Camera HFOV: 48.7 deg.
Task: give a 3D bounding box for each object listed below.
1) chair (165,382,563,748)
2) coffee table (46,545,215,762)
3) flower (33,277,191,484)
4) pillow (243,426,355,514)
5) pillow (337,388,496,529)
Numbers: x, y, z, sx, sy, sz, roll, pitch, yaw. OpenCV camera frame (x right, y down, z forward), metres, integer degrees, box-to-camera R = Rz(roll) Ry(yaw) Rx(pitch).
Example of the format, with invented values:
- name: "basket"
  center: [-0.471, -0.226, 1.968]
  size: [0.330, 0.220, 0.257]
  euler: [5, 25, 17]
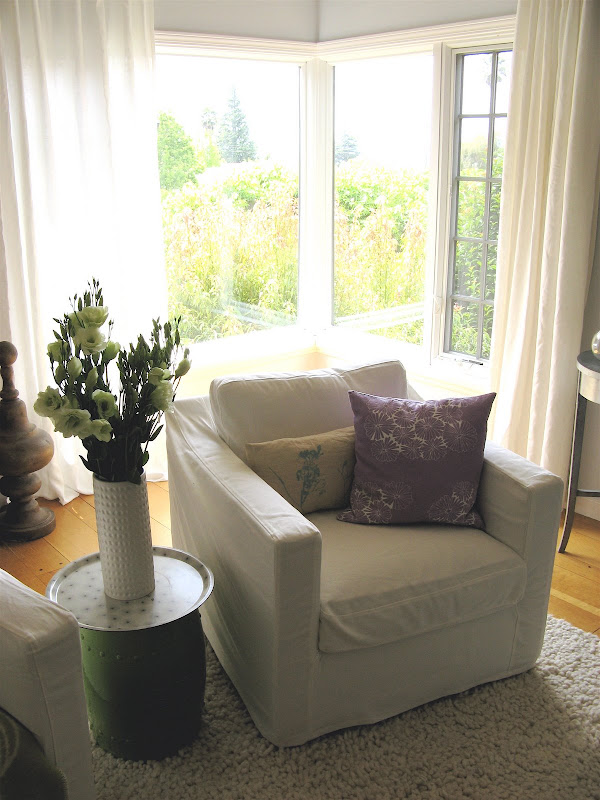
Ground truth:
- name: "chair"
  center: [0.114, 0.368, 2.003]
  size: [0.892, 0.789, 0.906]
  euler: [-9, 24, -23]
- name: "coffee table"
  center: [-0.404, 0.597, 1.548]
  size: [0.322, 0.373, 0.342]
  euler: [7, 17, 19]
- name: "flower"
  center: [-0.411, -0.001, 1.411]
  size: [0.299, 0.355, 0.294]
  euler: [3, 13, 24]
- name: "pillow"
  center: [0.000, 0.204, 1.840]
  size: [0.217, 0.077, 0.152]
  euler: [-10, 67, -31]
- name: "pillow"
  center: [0.329, 0.181, 1.865]
  size: [0.353, 0.350, 0.138]
  euler: [0, -13, 5]
